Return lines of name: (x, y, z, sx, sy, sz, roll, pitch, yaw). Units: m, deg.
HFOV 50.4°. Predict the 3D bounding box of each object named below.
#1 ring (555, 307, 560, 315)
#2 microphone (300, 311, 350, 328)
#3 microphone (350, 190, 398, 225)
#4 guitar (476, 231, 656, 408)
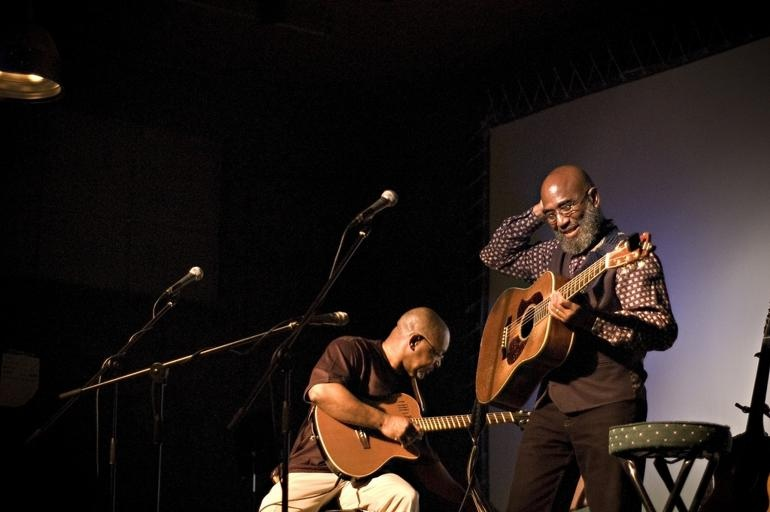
ring: (1.147, 0.371, 5.461, 0.025, 0.041, 0.009, 14, -16, -14)
microphone: (-0.456, 0.481, 6.118, 0.342, 0.097, 0.106, -7, -40, -10)
microphone: (-0.116, -0.406, 6.883, 0.551, 0.165, 0.196, -30, -33, -33)
guitar: (1.097, 0.525, 5.719, 0.235, 0.909, 1.673, 14, -32, -9)
